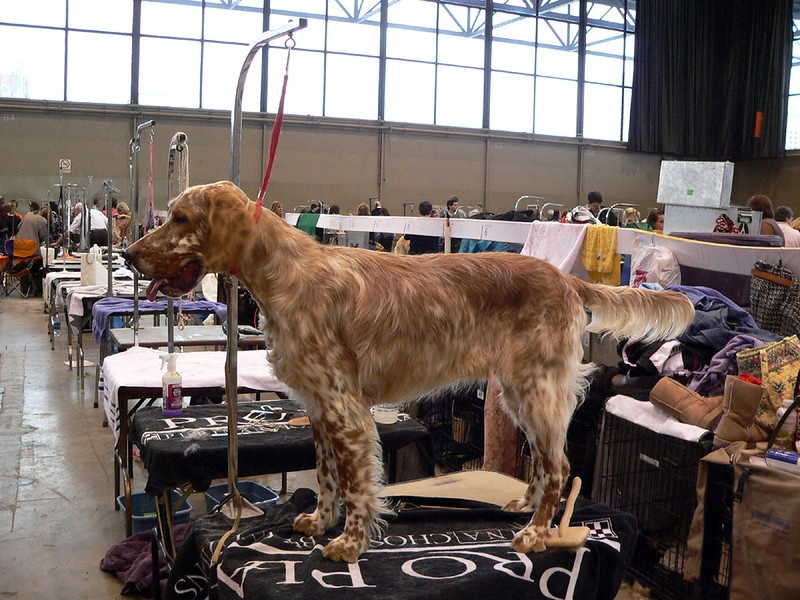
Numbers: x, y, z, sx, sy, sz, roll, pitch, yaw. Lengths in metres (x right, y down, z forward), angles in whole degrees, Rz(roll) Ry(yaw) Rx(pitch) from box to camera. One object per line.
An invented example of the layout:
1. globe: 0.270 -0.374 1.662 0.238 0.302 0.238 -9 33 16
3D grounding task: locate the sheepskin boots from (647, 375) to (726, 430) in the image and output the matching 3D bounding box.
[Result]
1. sheepskin boots: 1.671 0.580 3.997 0.229 0.253 0.331 -1 12 -19

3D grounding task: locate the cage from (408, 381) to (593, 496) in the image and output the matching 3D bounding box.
1. cage: 0.583 0.792 3.860 0.790 0.642 0.453 -5 -11 44
